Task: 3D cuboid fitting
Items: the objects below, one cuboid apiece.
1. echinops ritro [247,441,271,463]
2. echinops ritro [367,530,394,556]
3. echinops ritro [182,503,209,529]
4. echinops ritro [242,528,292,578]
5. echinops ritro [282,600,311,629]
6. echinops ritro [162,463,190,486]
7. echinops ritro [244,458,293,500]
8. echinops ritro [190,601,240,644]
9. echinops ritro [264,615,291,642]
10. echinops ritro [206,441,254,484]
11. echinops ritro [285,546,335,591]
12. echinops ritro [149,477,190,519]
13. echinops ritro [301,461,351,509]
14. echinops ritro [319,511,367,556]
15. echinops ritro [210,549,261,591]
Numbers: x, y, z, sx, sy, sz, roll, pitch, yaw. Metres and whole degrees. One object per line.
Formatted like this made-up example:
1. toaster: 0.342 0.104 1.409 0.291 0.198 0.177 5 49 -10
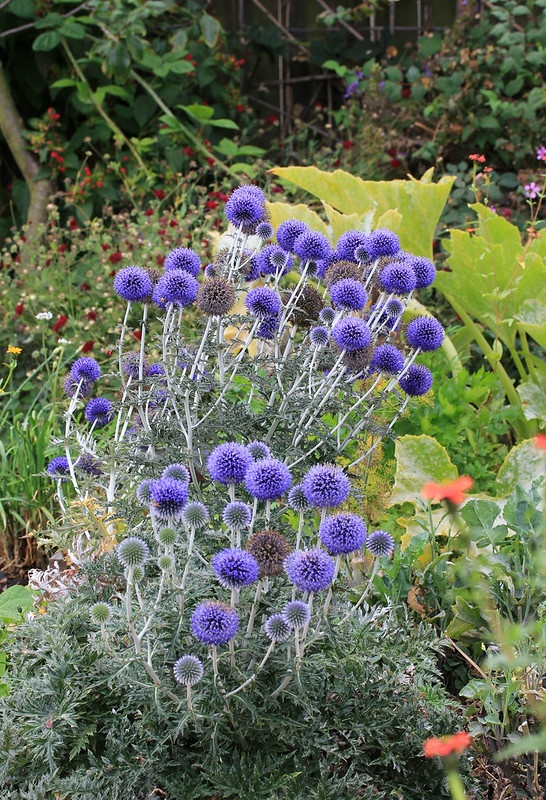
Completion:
1. echinops ritro: -0.027 0.128 1.937 0.051 0.045 0.051 4 -21 23
2. echinops ritro: 0.278 0.372 2.002 0.073 0.064 0.069 2 6 -15
3. echinops ritro: -0.163 0.250 1.770 0.060 0.053 0.069 23 -2 -3
4. echinops ritro: -0.008 0.321 1.657 0.100 0.098 0.091 -2 12 -12
5. echinops ritro: 0.043 0.447 1.676 0.062 0.053 0.083 12 1 -9
6. echinops ritro: -0.227 0.174 1.837 0.055 0.052 0.025 -36 5 -16
7. echinops ritro: -0.011 0.175 1.766 0.097 0.093 0.086 13 42 26
8. echinops ritro: -0.118 0.448 1.626 0.094 0.083 0.087 -4 11 -12
9. echinops ritro: 0.004 0.472 1.666 0.061 0.055 0.088 -3 7 -2
10. echinops ritro: -0.095 0.148 1.773 0.091 0.081 0.096 -19 37 -25
11. echinops ritro: 0.075 0.350 1.667 0.097 0.084 0.090 -3 -1 -9
12. echinops ritro: -0.224 0.212 1.696 0.087 0.088 0.084 -1 0 -10
13. echinops ritro: 0.113 0.189 1.718 0.106 0.096 0.093 7 38 9
14. echinops ritro: 0.150 0.292 1.754 0.098 0.093 0.097 -17 -7 41
15. echinops ritro: -0.078 0.343 1.604 0.090 0.084 0.082 -8 26 2
